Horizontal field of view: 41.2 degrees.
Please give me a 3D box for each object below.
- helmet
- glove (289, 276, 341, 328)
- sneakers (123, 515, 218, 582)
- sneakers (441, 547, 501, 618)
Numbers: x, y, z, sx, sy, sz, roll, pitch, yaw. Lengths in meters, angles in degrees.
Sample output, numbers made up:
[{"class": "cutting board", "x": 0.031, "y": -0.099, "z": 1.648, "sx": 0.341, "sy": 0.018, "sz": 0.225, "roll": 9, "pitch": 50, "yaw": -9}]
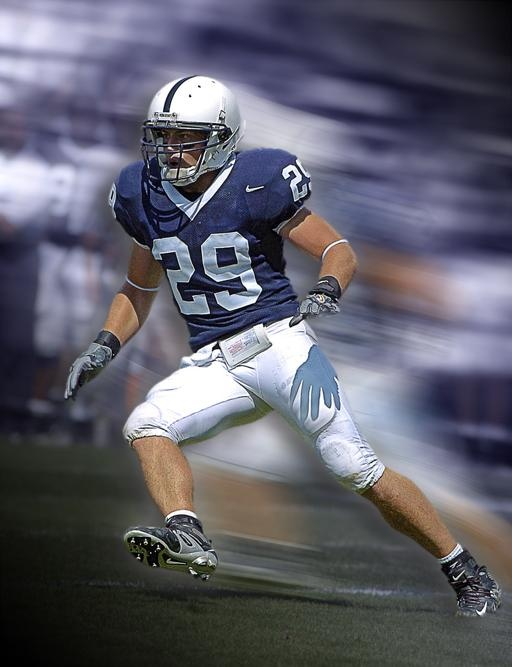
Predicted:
[{"class": "helmet", "x": -0.161, "y": -0.574, "z": 1.875, "sx": 0.270, "sy": 0.241, "sz": 0.329, "roll": 10, "pitch": 31, "yaw": 20}, {"class": "glove", "x": 0.147, "y": -0.090, "z": 1.619, "sx": 0.080, "sy": 0.154, "sz": 0.050, "roll": 14, "pitch": 65, "yaw": -32}, {"class": "sneakers", "x": -0.172, "y": 0.431, "z": 1.401, "sx": 0.209, "sy": 0.063, "sz": 0.089, "roll": -9, "pitch": 82, "yaw": 17}, {"class": "sneakers", "x": 0.547, "y": 0.632, "z": 1.701, "sx": 0.059, "sy": 0.167, "sz": 0.104, "roll": -34, "pitch": 87, "yaw": 28}]
